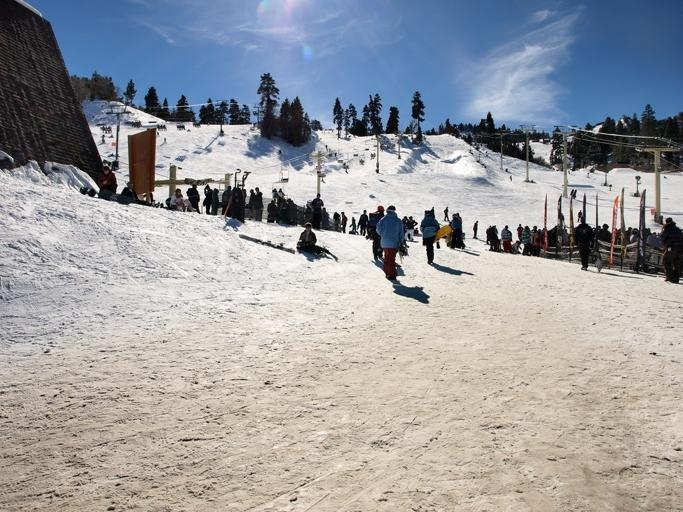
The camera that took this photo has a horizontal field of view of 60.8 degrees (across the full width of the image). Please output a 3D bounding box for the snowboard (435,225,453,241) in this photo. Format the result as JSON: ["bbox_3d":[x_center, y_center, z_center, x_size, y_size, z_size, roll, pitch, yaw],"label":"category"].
[{"bbox_3d":[3.718,-0.831,20.960,0.670,0.347,1.060,16,11,4],"label":"snowboard"}]

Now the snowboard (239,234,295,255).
[{"bbox_3d":[-2.112,-0.304,16.231,1.326,0.183,0.185,17,42,2],"label":"snowboard"}]
